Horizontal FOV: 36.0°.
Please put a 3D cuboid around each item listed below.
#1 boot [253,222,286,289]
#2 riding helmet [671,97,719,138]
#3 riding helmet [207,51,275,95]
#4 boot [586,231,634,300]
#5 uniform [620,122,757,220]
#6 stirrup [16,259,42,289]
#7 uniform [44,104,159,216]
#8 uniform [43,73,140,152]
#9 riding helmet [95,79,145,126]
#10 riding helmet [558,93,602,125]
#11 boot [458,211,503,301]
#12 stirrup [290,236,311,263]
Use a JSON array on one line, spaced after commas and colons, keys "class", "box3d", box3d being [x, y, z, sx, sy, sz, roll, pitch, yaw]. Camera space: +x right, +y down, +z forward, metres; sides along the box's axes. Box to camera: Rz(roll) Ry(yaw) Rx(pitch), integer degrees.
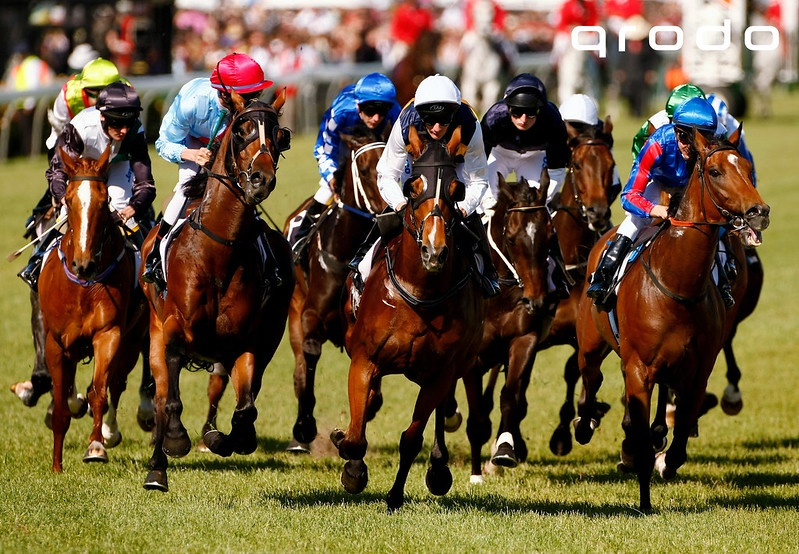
[{"class": "boot", "box3d": [-1.020, -0.159, 9.679, 0.163, 0.574, 0.173, -7, -31, -4]}, {"class": "riding helmet", "box3d": [2.308, -1.244, 9.559, 0.255, 0.228, 0.363, 11, 5, -3]}, {"class": "riding helmet", "box3d": [-1.259, -1.604, 9.646, 0.401, 0.247, 0.343, 10, 27, 16]}, {"class": "boot", "box3d": [1.734, -0.087, 10.072, 0.210, 0.794, 0.262, 26, -37, 1]}, {"class": "uniform", "box3d": [2.329, -0.793, 10.229, 1.093, 0.880, 1.639, 1, -1, -2]}, {"class": "stirrup", "box3d": [-3.225, -0.021, 10.746, 0.118, 0.276, 0.207, 16, -7, -14]}, {"class": "uniform", "box3d": [-2.558, -0.995, 10.900, 0.818, 0.795, 1.402, 4, 3, -14]}, {"class": "uniform", "box3d": [-2.952, -1.640, 11.304, 0.643, 0.904, 0.462, 7, -2, 18]}, {"class": "riding helmet", "box3d": [-2.319, -1.509, 10.240, 0.338, 0.287, 0.479, 2, 2, -29]}, {"class": "riding helmet", "box3d": [1.694, -1.595, 11.581, 0.277, 0.237, 0.401, 5, 4, 9]}, {"class": "boot", "box3d": [0.704, -0.146, 9.381, 0.226, 0.793, 0.415, -14, 6, -13]}, {"class": "stirrup", "box3d": [-0.896, -0.254, 11.001, 0.085, 0.238, 0.169, 19, 14, 42]}]
